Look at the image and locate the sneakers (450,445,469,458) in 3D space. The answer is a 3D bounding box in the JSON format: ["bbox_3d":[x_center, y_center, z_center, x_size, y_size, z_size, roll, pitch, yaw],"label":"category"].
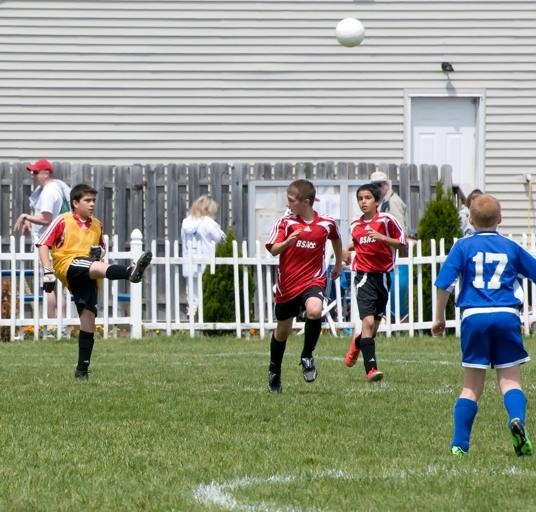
[{"bbox_3d":[1.751,1.785,14.251,0.148,0.090,0.084,1,-1,6],"label":"sneakers"}]

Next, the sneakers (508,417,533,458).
[{"bbox_3d":[2.281,1.654,14.100,0.124,0.411,0.175,-13,26,16],"label":"sneakers"}]

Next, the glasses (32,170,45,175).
[{"bbox_3d":[-3.141,-1.182,21.469,0.144,0.081,0.094,5,2,-26],"label":"glasses"}]

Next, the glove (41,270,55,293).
[{"bbox_3d":[-2.362,0.265,16.879,0.125,0.230,0.272,1,-1,-9],"label":"glove"}]

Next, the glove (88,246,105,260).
[{"bbox_3d":[-1.842,-0.049,16.767,0.103,0.185,0.164,3,9,14],"label":"glove"}]

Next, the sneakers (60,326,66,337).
[{"bbox_3d":[-2.840,1.042,21.621,0.075,0.109,0.429,8,-9,-9],"label":"sneakers"}]

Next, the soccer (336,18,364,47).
[{"bbox_3d":[1.223,-3.357,23.058,0.365,0.517,0.381,-1,10,-5],"label":"soccer"}]

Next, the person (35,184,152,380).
[{"bbox_3d":[-1.939,0.258,16.848,1.112,2.109,0.813,1,-1,-8],"label":"person"}]

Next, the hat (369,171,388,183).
[{"bbox_3d":[1.539,-1.121,21.583,0.215,0.144,0.333,1,5,9],"label":"hat"}]

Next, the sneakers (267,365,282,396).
[{"bbox_3d":[0.075,1.285,16.171,0.142,0.261,0.285,1,-1,0],"label":"sneakers"}]

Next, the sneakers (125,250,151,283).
[{"bbox_3d":[-1.433,0.073,17.030,0.190,0.447,0.158,6,-31,28],"label":"sneakers"}]

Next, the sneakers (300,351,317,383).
[{"bbox_3d":[0.427,1.183,16.312,0.174,0.294,0.490,1,-1,1],"label":"sneakers"}]

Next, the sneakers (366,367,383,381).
[{"bbox_3d":[1.157,1.266,16.770,0.080,0.104,0.203,-13,-12,-18],"label":"sneakers"}]

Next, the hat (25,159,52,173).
[{"bbox_3d":[-3.123,-1.258,21.472,0.389,0.237,0.264,-1,4,-26],"label":"hat"}]

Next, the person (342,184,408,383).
[{"bbox_3d":[1.194,0.249,17.476,0.632,2.167,1.161,1,-1,3],"label":"person"}]

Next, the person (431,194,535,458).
[{"bbox_3d":[2.005,0.618,14.365,0.907,2.420,0.469,1,-1,7],"label":"person"}]

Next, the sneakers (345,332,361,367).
[{"bbox_3d":[0.983,1.063,17.412,0.121,0.433,0.174,9,8,-10],"label":"sneakers"}]

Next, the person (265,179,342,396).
[{"bbox_3d":[0.371,0.305,16.284,0.783,2.224,0.704,1,-1,-5],"label":"person"}]

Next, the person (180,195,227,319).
[{"bbox_3d":[-0.917,-0.021,21.993,0.591,1.774,1.104,1,-1,-3],"label":"person"}]
